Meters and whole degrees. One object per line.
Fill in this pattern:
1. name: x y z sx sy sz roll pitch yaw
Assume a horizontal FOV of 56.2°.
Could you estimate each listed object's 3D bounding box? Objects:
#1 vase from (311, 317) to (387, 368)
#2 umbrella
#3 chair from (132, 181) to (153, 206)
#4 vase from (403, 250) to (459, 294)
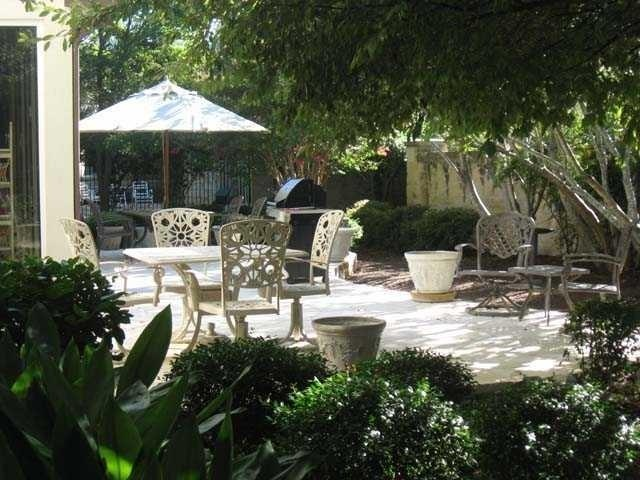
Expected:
1. vase: 0.219 0.787 4.610 0.485 0.389 0.414 -4 -7 39
2. umbrella: -2.076 -1.498 8.243 1.845 1.505 2.004 0 2 -14
3. chair: -5.355 -1.415 18.060 0.576 0.989 0.615 0 -2 16
4. vase: 1.501 0.399 7.952 0.519 0.453 0.565 0 -3 -4
